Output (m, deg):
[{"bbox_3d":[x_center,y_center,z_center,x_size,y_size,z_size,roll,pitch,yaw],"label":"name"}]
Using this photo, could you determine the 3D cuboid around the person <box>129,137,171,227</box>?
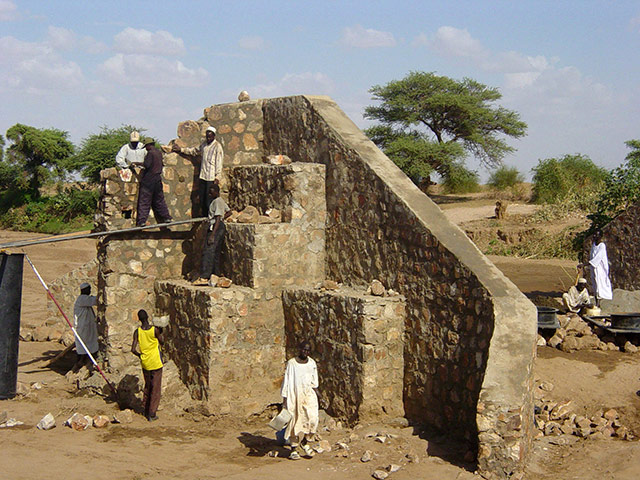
[{"bbox_3d":[-3.435,-1.147,13.450,0.708,1.689,0.523,-6,13,-22],"label":"person"}]

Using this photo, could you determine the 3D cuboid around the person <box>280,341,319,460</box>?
[{"bbox_3d":[-0.327,2.555,10.623,0.577,1.872,0.575,-2,12,-4],"label":"person"}]

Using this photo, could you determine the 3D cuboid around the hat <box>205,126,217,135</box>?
[{"bbox_3d":[-2.264,-2.237,13.789,0.265,0.074,0.253,7,-9,-7],"label":"hat"}]

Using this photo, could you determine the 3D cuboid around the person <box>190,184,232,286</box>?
[{"bbox_3d":[-2.161,-0.056,12.996,0.494,1.813,0.836,6,14,29],"label":"person"}]

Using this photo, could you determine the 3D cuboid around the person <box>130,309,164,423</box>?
[{"bbox_3d":[-3.066,2.262,11.923,0.496,2.010,0.455,-4,13,-14],"label":"person"}]

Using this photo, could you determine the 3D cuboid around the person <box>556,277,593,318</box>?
[{"bbox_3d":[5.743,1.271,14.776,0.738,0.815,0.627,6,7,22],"label":"person"}]

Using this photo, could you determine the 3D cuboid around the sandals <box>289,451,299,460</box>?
[{"bbox_3d":[-0.412,3.420,10.592,0.170,0.140,0.156,-1,12,2],"label":"sandals"}]

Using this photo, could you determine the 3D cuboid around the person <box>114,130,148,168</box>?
[{"bbox_3d":[-3.749,-1.725,13.464,0.708,0.866,0.518,-4,20,-25],"label":"person"}]

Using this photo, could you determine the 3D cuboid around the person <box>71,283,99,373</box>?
[{"bbox_3d":[-4.800,1.883,13.640,0.578,1.746,1.139,-7,13,-24],"label":"person"}]

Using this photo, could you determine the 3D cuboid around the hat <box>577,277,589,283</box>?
[{"bbox_3d":[6.138,0.958,15.588,0.261,0.076,0.251,2,3,6],"label":"hat"}]

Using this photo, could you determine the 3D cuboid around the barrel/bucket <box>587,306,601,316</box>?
[{"bbox_3d":[5.925,1.566,14.433,0.275,0.156,0.403,7,14,35],"label":"barrel/bucket"}]
